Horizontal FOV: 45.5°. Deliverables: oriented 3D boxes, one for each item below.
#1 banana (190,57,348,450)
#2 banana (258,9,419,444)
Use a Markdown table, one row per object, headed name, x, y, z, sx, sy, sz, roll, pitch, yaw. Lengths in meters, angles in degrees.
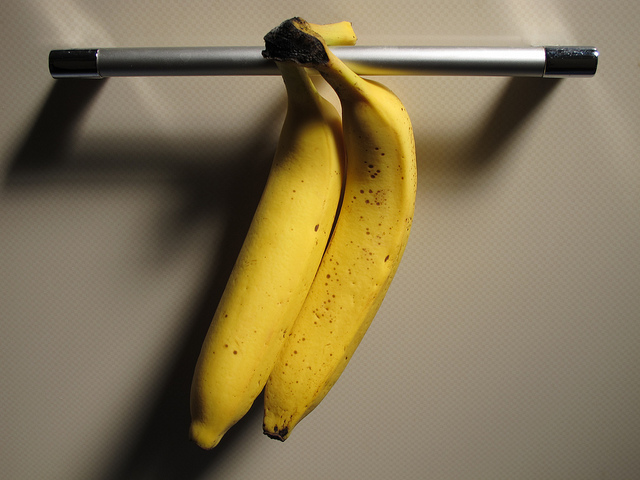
| name | x | y | z | sx | sy | sz | roll | pitch | yaw |
| --- | --- | --- | --- | --- | --- | --- | --- | --- | --- |
| banana | -0.063 | 0.035 | 1.169 | 0.154 | 0.664 | 0.202 | 13 | 0 | -4 |
| banana | 0.013 | -0.021 | 1.186 | 0.205 | 0.632 | 0.143 | 3 | 10 | -16 |
